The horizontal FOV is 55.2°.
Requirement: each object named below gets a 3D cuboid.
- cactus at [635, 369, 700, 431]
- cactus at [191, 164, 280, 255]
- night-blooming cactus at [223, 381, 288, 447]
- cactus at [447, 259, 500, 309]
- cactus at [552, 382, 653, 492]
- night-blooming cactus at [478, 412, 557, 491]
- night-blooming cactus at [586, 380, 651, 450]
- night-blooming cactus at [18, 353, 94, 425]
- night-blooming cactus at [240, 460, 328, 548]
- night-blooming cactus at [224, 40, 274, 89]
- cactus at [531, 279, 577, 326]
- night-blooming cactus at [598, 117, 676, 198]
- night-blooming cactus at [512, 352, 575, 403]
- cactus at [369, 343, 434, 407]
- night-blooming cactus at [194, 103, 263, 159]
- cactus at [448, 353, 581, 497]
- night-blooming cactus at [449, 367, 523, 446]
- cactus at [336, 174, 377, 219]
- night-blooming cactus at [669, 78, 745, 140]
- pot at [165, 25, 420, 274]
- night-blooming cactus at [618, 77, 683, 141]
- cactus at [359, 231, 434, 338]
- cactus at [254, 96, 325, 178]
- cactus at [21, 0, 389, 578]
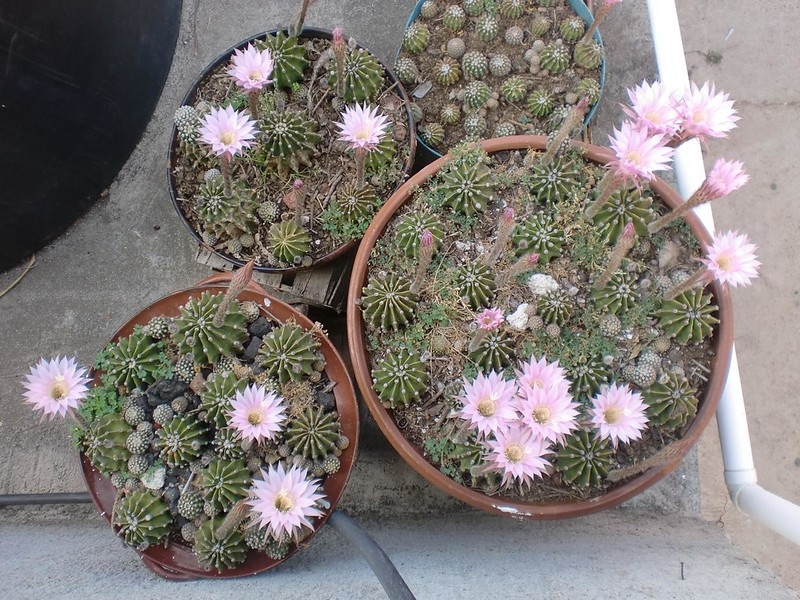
[{"bbox_3d":[1.145,0.409,3.179,0.238,0.076,0.294,5,43,5],"label":"cactus"},{"bbox_3d":[-0.766,-0.407,3.610,0.299,0.395,0.357,21,98,-1],"label":"cactus"},{"bbox_3d":[-0.579,0.465,3.054,0.261,0.334,0.244,7,84,3],"label":"night-blooming cactus"},{"bbox_3d":[0.315,-0.066,3.183,0.195,0.079,0.170,36,87,5],"label":"cactus"},{"bbox_3d":[0.797,0.561,3.051,0.289,0.153,0.513,40,122,12],"label":"cactus"},{"bbox_3d":[0.442,0.540,2.937,0.252,0.267,0.117,21,74,-29],"label":"night-blooming cactus"},{"bbox_3d":[0.831,0.437,2.898,0.236,0.110,0.270,-7,90,16],"label":"night-blooming cactus"},{"bbox_3d":[-1.371,0.369,3.210,0.242,0.432,0.244,2,84,2],"label":"night-blooming cactus"},{"bbox_3d":[-0.428,0.719,2.858,0.257,0.270,0.138,-12,113,1],"label":"night-blooming cactus"},{"bbox_3d":[-0.627,-1.014,3.230,0.208,0.103,0.236,-13,90,7],"label":"night-blooming cactus"},{"bbox_3d":[0.647,0.030,3.177,0.160,0.071,0.166,-42,84,-2],"label":"cactus"},{"bbox_3d":[0.910,-0.566,2.909,0.245,0.112,0.280,-4,91,0],"label":"night-blooming cactus"},{"bbox_3d":[0.513,0.299,2.866,0.202,0.214,0.098,-8,115,8],"label":"night-blooming cactus"},{"bbox_3d":[0.003,0.327,3.187,0.242,0.111,0.235,-19,84,0],"label":"cactus"},{"bbox_3d":[-0.702,-0.671,3.120,0.227,0.103,0.261,9,81,-7],"label":"night-blooming cactus"},{"bbox_3d":[0.495,0.538,2.926,0.260,0.465,0.163,8,120,28],"label":"cactus"},{"bbox_3d":[0.336,0.418,2.981,0.229,0.338,0.261,-6,84,1],"label":"night-blooming cactus"},{"bbox_3d":[-0.190,-0.449,3.362,0.163,0.066,0.173,-36,85,2],"label":"cactus"},{"bbox_3d":[1.271,-0.761,3.083,0.237,0.157,0.203,-12,96,-44],"label":"night-blooming cactus"},{"bbox_3d":[-0.426,-0.692,3.590,1.049,0.437,1.168,34,91,4],"label":"pot"},{"bbox_3d":[0.988,-0.765,3.046,0.245,0.246,0.115,-5,75,-4],"label":"night-blooming cactus"},{"bbox_3d":[-0.009,-0.050,3.198,0.175,0.381,0.171,40,64,13],"label":"cactus"},{"bbox_3d":[-0.501,-0.723,3.425,0.268,0.106,0.309,6,102,-12],"label":"cactus"},{"bbox_3d":[-0.775,0.100,3.652,1.636,0.783,2.201,5,84,0],"label":"cactus"}]
